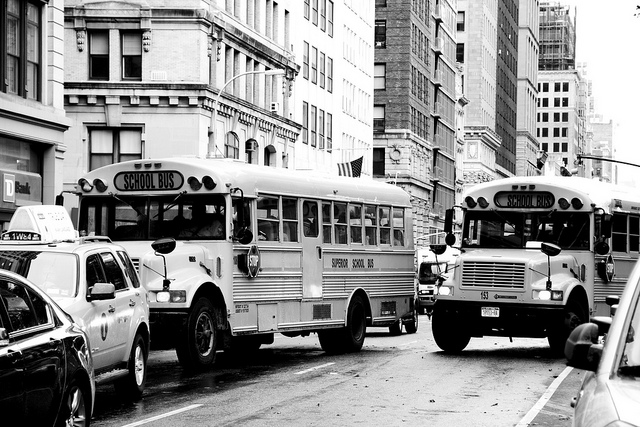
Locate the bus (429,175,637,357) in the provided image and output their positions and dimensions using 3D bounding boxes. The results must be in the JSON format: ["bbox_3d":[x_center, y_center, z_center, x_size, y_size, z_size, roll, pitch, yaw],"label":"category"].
[{"bbox_3d":[5.285,1.075,20.808,2.909,3.377,6.129,-3,-10,27],"label":"bus"}]

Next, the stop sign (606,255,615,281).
[{"bbox_3d":[7.207,1.329,21.312,0.076,0.775,0.583,-2,-3,23],"label":"stop sign"}]

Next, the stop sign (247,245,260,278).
[{"bbox_3d":[-1.456,1.005,18.423,0.123,0.854,0.582,-2,-5,21],"label":"stop sign"}]
